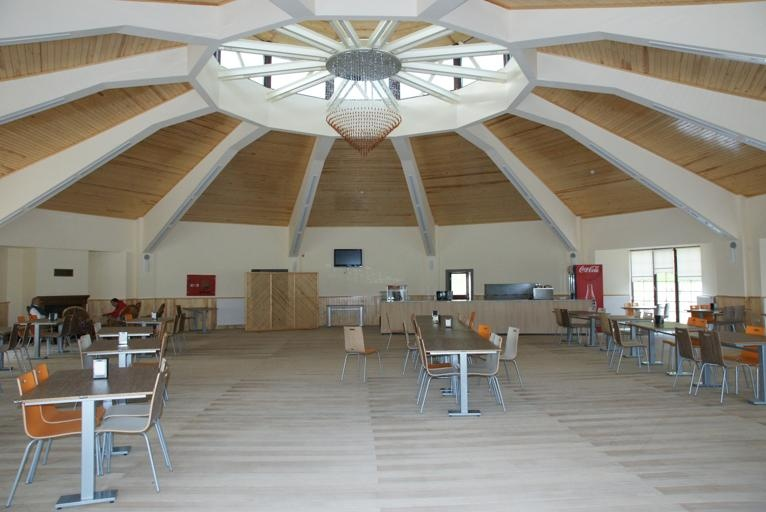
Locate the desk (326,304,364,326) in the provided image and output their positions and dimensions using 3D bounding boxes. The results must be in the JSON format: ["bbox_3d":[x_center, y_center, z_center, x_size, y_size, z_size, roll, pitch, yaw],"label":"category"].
[{"bbox_3d":[-1.488,2.154,18.427,1.587,0.948,0.780,1,-7,-6],"label":"desk"}]
